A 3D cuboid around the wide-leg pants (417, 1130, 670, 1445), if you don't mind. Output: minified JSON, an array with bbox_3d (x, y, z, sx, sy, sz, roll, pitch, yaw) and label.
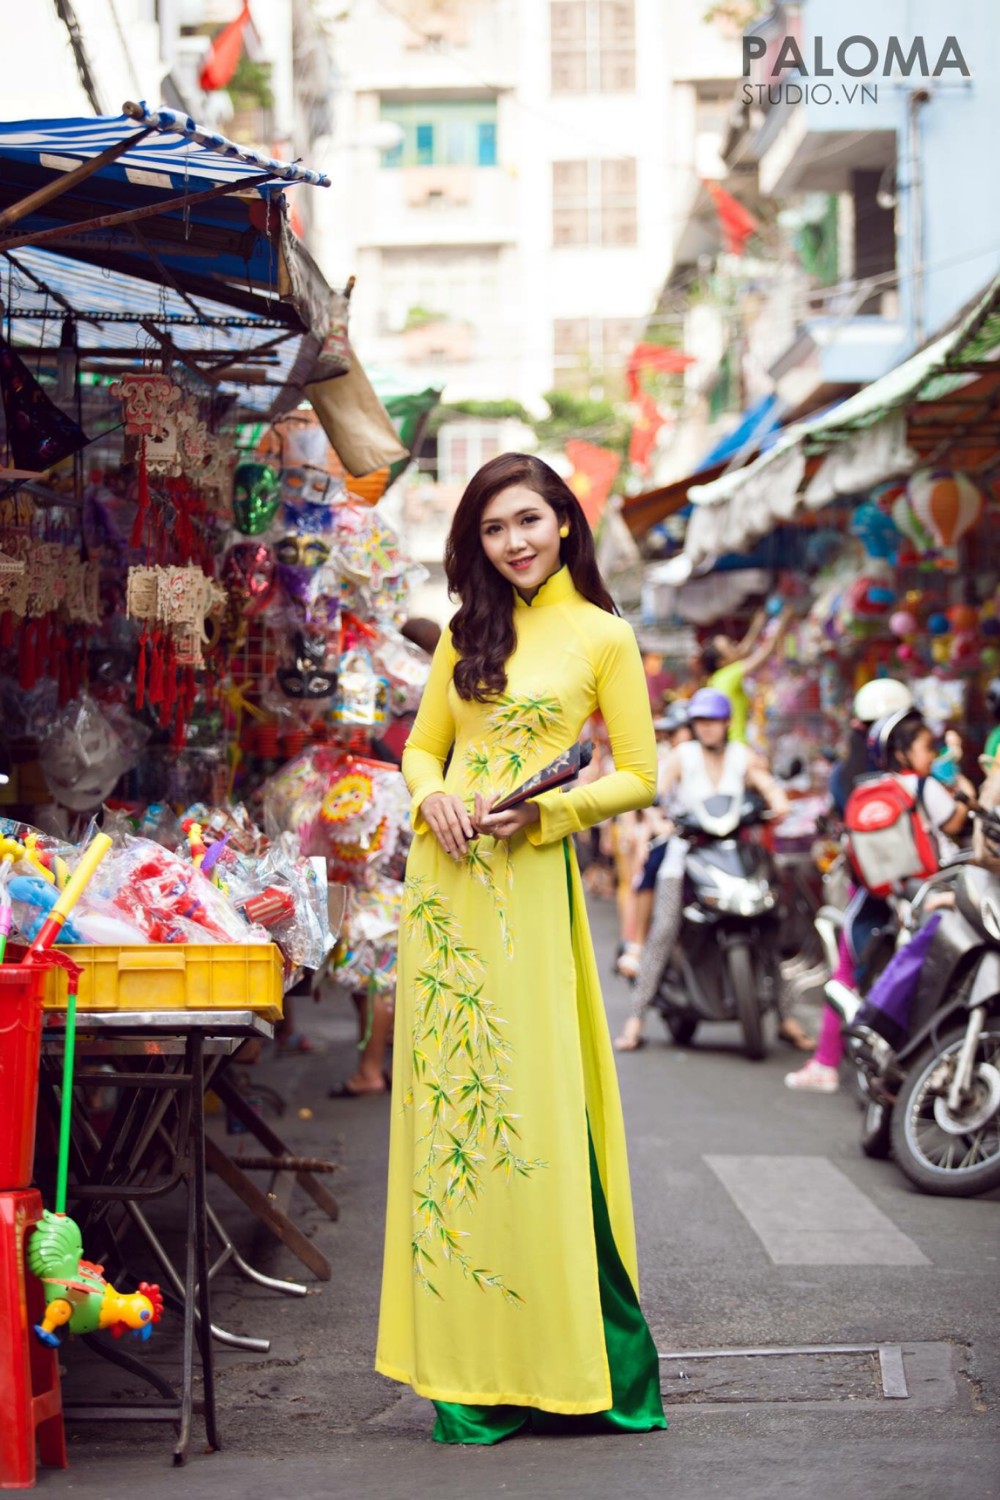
[{"bbox_3d":[0.108,1.002,3.293,0.507,0.666,0.186,3,18,-2],"label":"wide-leg pants"}]

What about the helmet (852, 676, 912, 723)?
[{"bbox_3d":[1.484,-0.197,6.658,0.189,0.112,0.186,-2,0,-32],"label":"helmet"}]

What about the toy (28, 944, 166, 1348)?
[{"bbox_3d":[-0.696,0.708,3.012,0.262,0.661,0.288,1,-1,26],"label":"toy"}]

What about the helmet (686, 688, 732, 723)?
[{"bbox_3d":[1.067,-0.216,8.773,0.187,0.160,0.274,-4,13,-9],"label":"helmet"}]

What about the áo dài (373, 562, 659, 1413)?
[{"bbox_3d":[0.077,0.451,3.531,0.620,1.573,0.531,0,-1,8],"label":"áo dài"}]
